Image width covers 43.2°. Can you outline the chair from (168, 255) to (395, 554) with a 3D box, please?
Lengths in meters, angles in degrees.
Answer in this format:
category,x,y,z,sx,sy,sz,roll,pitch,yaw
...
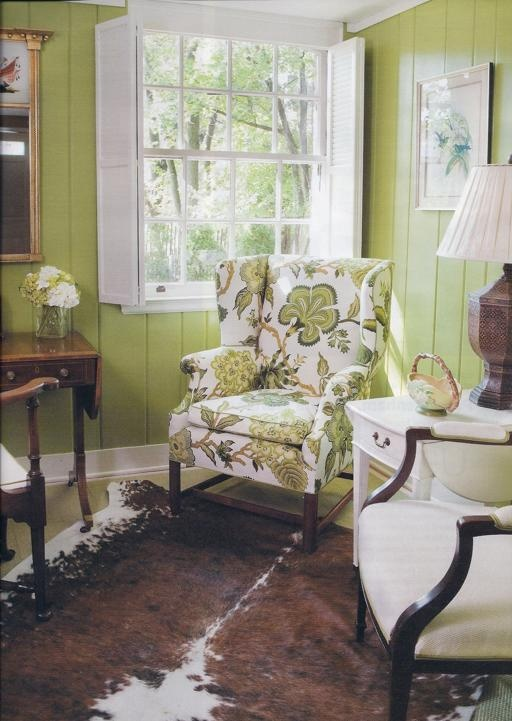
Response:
category,x,y,z,sx,sy,sz,roll,pitch,yaw
chair,0.116,0.084,2.653,1.090,0.943,1.065,1,15,8

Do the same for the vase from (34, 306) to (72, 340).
category,x,y,z,sx,sy,sz,roll,pitch,yaw
vase,-0.847,-0.159,2.755,0.170,0.183,0.165,1,3,-1

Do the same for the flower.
category,x,y,z,sx,sy,sz,roll,pitch,yaw
flower,-0.831,-0.238,2.656,0.208,0.295,0.152,8,12,33
